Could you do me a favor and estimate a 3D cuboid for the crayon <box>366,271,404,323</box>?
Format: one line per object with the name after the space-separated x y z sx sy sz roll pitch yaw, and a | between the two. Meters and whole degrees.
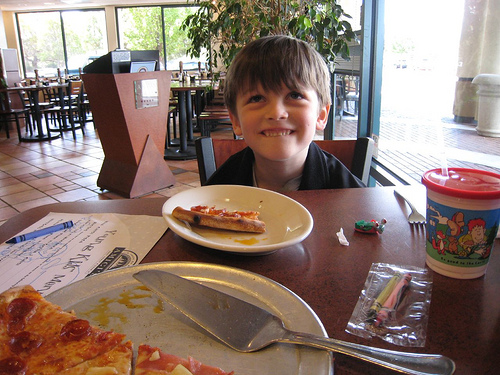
0.217 0.174 0.600 0.049 0.055 0.064 9 13 17 | crayon

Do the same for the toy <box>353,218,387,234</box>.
0.258 0.080 0.800 0.058 0.022 0.062 11 22 30 | toy

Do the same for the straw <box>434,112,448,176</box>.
0.350 -0.081 0.683 0.015 0.011 0.143 26 47 -14 | straw

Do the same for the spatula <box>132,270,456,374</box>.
0.074 0.163 0.582 0.378 0.087 0.287 6 11 40 | spatula
